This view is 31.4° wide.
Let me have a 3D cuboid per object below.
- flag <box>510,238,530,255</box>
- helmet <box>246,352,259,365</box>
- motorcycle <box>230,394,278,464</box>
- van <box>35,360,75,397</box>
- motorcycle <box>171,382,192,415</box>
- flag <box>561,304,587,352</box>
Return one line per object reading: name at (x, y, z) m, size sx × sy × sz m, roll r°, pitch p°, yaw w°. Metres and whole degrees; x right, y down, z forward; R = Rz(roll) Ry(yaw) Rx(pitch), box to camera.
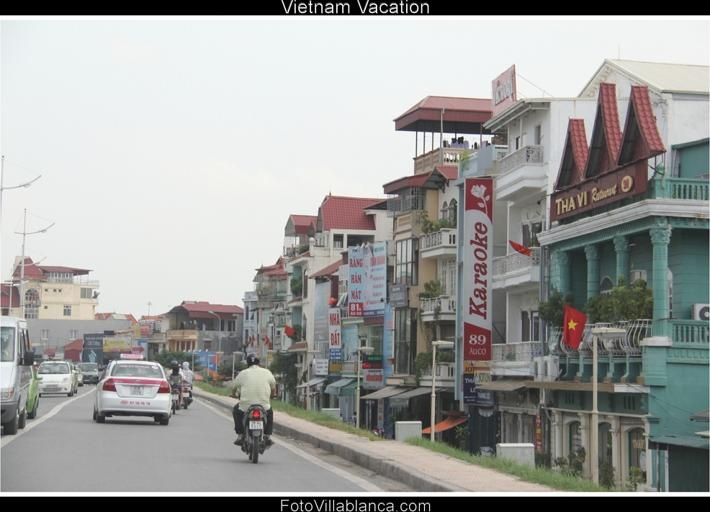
flag at (6.634, -0.401, 50.812) m, size 0.794 × 0.112 × 0.295 m, roll 24°, pitch -33°, yaw 19°
helmet at (-2.607, 2.662, 32.628) m, size 0.251 × 0.336 × 0.329 m, roll 1°, pitch 5°, yaw 0°
motorcycle at (-2.508, 4.504, 31.929) m, size 0.687 × 1.459 × 0.807 m, roll 0°, pitch -11°, yaw 3°
van at (-14.470, 6.057, 61.801) m, size 1.601 × 1.505 × 3.003 m, roll 0°, pitch -8°, yaw -8°
motorcycle at (-6.807, 5.532, 50.370) m, size 0.631 × 0.881 × 1.476 m, roll -1°, pitch -2°, yaw -2°
flag at (7.667, 2.453, 44.112) m, size 0.834 × 1.476 × 1.502 m, roll -1°, pitch -11°, yaw 10°
